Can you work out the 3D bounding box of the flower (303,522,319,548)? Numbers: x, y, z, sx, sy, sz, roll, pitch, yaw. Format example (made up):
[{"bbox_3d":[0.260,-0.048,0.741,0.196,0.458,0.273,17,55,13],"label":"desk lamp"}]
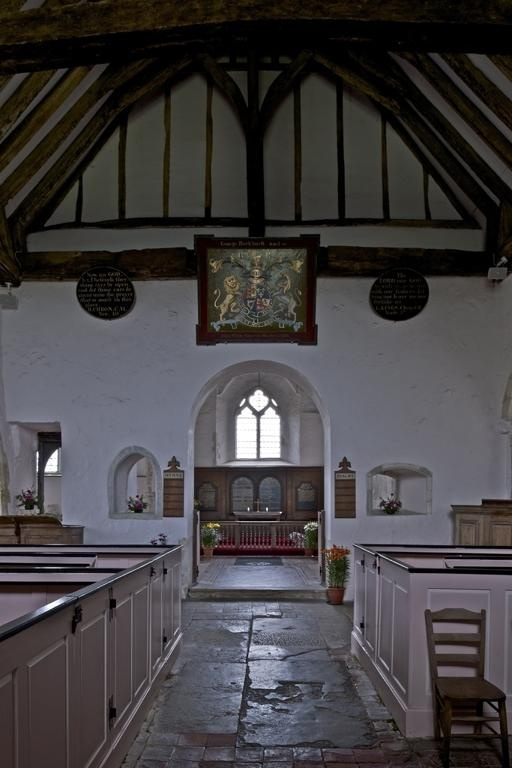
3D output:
[{"bbox_3d":[1.077,3.042,16.601,0.215,0.530,0.542,0,-2,-5],"label":"flower"}]

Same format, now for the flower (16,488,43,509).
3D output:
[{"bbox_3d":[-3.463,1.766,12.662,0.331,0.345,0.335,1,-3,-10],"label":"flower"}]

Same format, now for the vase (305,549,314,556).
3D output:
[{"bbox_3d":[1.089,3.383,16.657,0.131,0.096,0.134,0,-5,4],"label":"vase"}]

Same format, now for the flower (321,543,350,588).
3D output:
[{"bbox_3d":[1.138,2.573,11.688,0.527,0.793,0.547,1,-8,-1],"label":"flower"}]

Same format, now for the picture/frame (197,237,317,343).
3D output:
[{"bbox_3d":[-0.002,-1.296,11.560,1.697,1.444,0.366,0,-2,-1],"label":"picture/frame"}]

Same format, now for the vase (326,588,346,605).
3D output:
[{"bbox_3d":[1.132,3.000,11.761,0.219,0.181,0.224,2,0,-5],"label":"vase"}]

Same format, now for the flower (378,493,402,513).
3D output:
[{"bbox_3d":[1.966,1.782,12.307,0.347,0.347,0.308,-6,-6,40],"label":"flower"}]

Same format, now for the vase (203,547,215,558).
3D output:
[{"bbox_3d":[-0.965,3.361,16.536,0.191,0.190,0.168,0,-8,-1],"label":"vase"}]

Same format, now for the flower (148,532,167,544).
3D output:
[{"bbox_3d":[-1.424,2.240,11.964,0.254,0.133,0.203,0,-2,-1],"label":"flower"}]
